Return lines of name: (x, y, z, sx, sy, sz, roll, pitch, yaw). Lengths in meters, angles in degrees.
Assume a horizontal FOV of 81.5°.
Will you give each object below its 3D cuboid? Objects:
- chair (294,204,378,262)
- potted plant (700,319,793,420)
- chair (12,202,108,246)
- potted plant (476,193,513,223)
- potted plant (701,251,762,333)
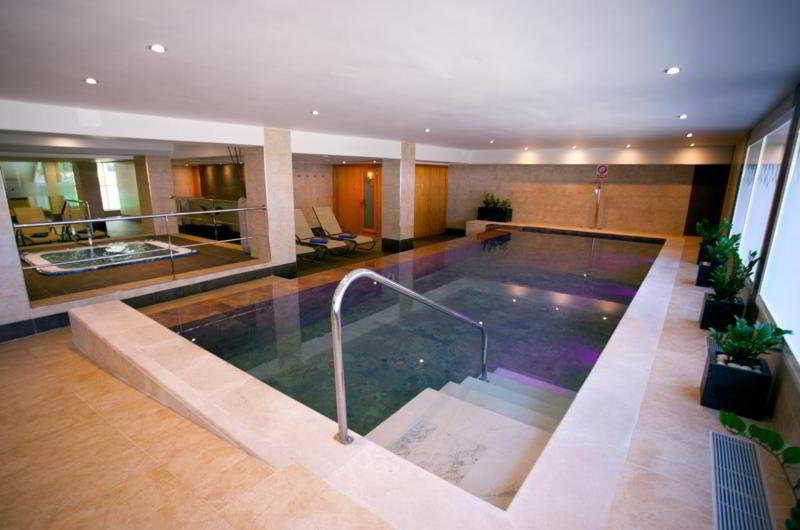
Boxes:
chair: (-1.782, -0.701, 10.931, 1.501, 0.659, 1.660, 23, 24, 35)
potted plant: (2.963, 0.872, 4.042, 0.550, 0.812, 0.449, 5, 17, 23)
chair: (-7.344, -0.854, 9.907, 1.696, 0.509, 1.147, 21, 24, 30)
potted plant: (2.839, -1.711, 13.828, 1.002, 0.801, 0.644, 4, 16, 21)
potted plant: (3.626, 0.279, 5.147, 0.470, 0.893, 0.468, -5, 18, -20)
